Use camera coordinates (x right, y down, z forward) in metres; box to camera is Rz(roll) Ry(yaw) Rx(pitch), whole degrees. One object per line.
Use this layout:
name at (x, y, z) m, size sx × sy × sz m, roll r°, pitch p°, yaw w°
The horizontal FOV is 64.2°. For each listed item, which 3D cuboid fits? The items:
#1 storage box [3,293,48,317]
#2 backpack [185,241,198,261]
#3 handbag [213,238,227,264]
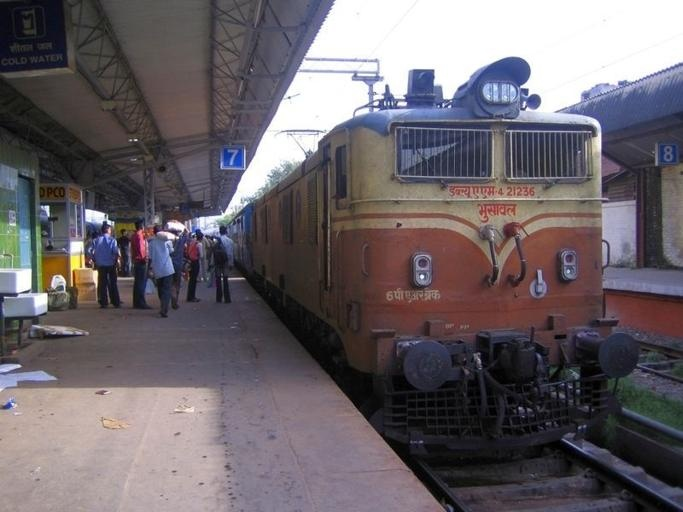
storage box at (-4.467, 0.704, 7.707) m, size 0.274 × 0.215 × 0.412 m, roll 1°, pitch 0°, yaw -12°
backpack at (-3.994, -0.123, 14.749) m, size 0.377 × 0.630 × 0.740 m, roll 0°, pitch 1°, yaw -8°
handbag at (-2.984, -0.076, 13.380) m, size 0.331 × 0.627 × 0.558 m, roll 1°, pitch -7°, yaw -18°
